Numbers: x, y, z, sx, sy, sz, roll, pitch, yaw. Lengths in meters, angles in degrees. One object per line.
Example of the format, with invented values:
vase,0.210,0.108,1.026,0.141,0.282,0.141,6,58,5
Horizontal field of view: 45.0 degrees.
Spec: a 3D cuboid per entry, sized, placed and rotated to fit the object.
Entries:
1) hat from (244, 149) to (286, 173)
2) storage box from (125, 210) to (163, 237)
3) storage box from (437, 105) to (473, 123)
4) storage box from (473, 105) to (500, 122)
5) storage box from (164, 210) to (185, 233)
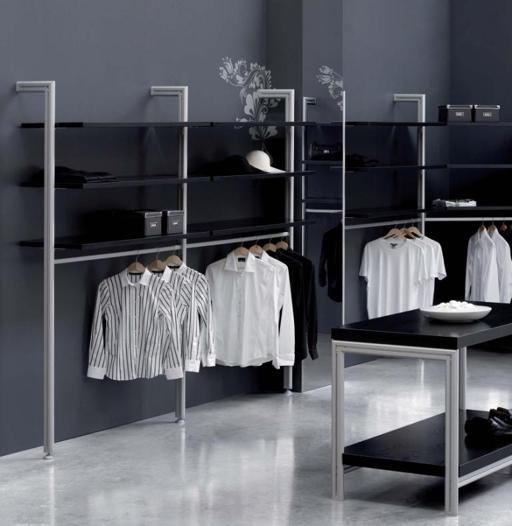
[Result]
hat,0.053,-0.777,4.763,0.252,0.125,0.202,12,12,30
storage box,-0.660,-0.230,3.696,0.155,0.127,0.158,3,3,45
storage box,2.036,-1.515,6.302,0.192,0.145,0.272,0,4,7
storage box,2.351,-1.526,6.290,0.296,0.189,0.106,0,-1,-16
storage box,-0.501,-0.256,3.871,0.112,0.189,0.187,1,4,25
